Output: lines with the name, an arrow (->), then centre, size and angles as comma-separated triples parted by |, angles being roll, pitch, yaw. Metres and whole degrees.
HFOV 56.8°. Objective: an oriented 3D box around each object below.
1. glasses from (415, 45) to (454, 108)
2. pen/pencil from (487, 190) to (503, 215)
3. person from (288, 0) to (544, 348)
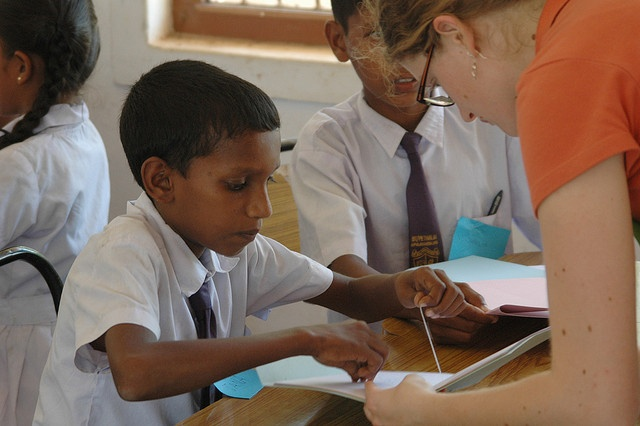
glasses -> 0.209, -0.270, 1.189 | 0.029, 0.104, 0.103 | -8, -4, 27
pen/pencil -> 0.545, -0.030, 1.835 | 0.024, 0.128, 0.015 | 18, -21, 13
person -> 0.241, -0.065, 1.448 | 0.637, 0.823, 0.481 | -25, 32, -12
